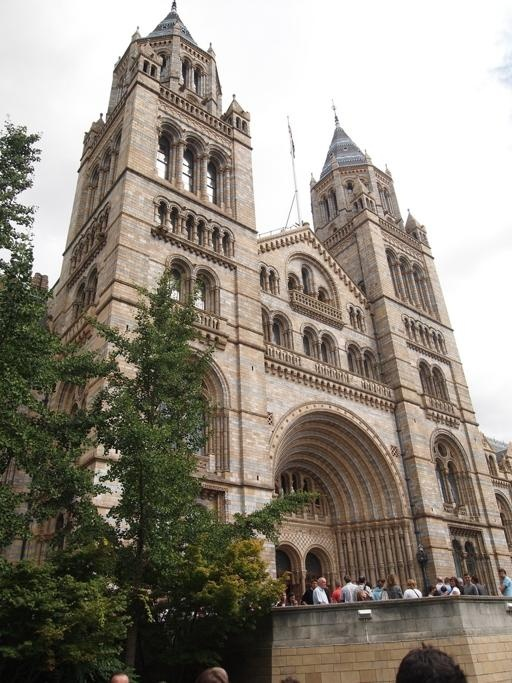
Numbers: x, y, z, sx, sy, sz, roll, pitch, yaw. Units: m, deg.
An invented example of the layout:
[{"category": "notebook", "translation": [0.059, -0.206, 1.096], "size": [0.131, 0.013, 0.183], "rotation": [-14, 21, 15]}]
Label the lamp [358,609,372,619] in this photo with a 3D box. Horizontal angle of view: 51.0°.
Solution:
[{"category": "lamp", "translation": [2.500, 6.298, 12.390], "size": [0.305, 0.210, 0.211], "rotation": [0, -43, 7]}]
